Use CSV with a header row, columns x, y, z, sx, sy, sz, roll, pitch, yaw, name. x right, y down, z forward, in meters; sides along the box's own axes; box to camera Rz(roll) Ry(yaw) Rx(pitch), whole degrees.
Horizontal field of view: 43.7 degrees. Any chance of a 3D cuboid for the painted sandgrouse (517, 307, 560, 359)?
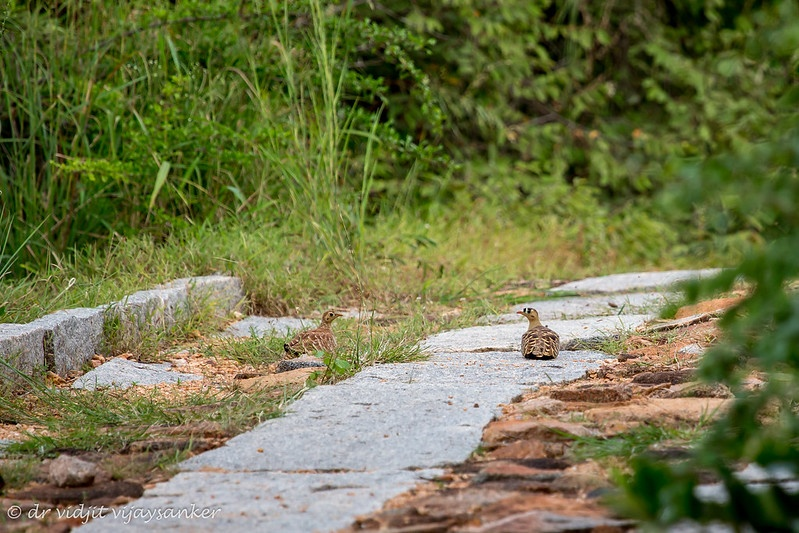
x,y,z,sx,sy,sz,roll,pitch,yaw,name
0.791,0.393,5.614,0.223,0.287,0.394,1,5,4,painted sandgrouse
